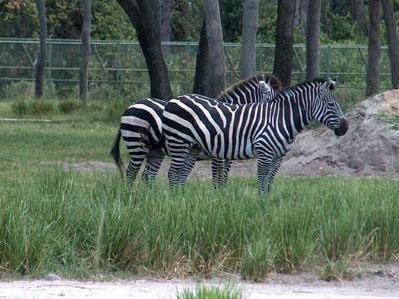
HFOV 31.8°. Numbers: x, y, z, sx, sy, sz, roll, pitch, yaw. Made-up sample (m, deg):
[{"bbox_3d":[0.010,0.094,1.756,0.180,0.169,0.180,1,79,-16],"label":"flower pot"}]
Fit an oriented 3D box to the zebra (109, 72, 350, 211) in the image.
[{"bbox_3d":[0.723,-0.272,12.569,3.504,2.004,1.156,0,4,-7],"label":"zebra"}]
